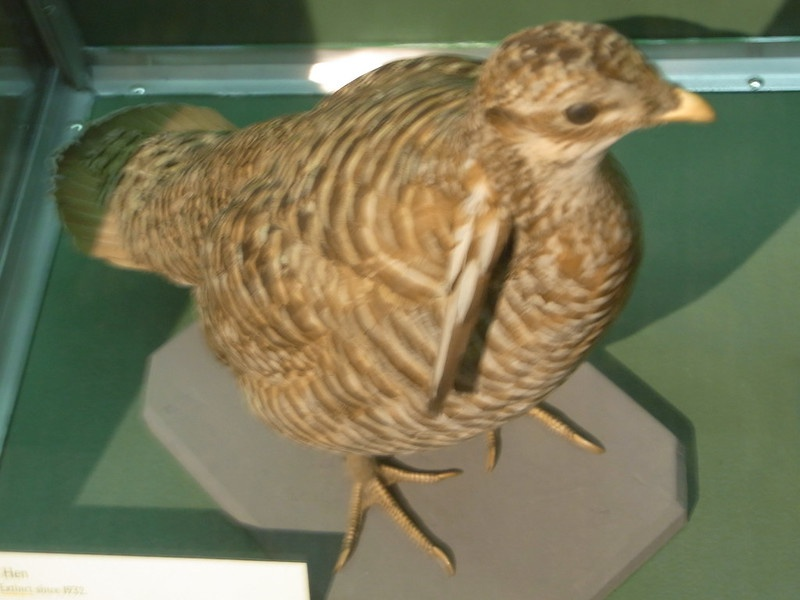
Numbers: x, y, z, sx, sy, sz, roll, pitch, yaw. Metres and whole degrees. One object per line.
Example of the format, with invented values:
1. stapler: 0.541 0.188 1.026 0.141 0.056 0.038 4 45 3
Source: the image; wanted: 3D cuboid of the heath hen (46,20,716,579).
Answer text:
1. heath hen: -0.025 0.067 2.127 1.064 0.756 0.606 31 64 13
